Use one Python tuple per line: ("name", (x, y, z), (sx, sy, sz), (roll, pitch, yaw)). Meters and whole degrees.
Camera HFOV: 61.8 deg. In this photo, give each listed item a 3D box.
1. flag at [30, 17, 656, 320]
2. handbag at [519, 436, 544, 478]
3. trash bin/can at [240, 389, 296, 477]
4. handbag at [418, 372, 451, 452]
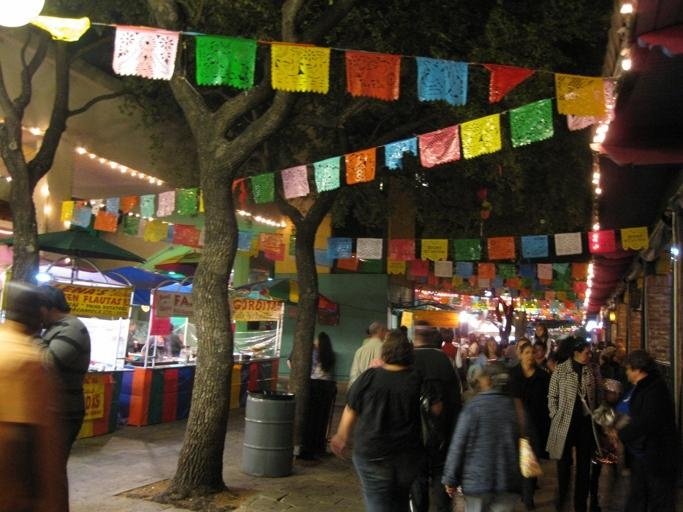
("flag", (-0.327, -1.798, 12.134), (9.591, 1.659, 7.698), (3, -11, 11))
("handbag", (1.741, 1.841, 5.182), (0.184, 0.404, 0.348), (2, -7, 24))
("trash bin/can", (-1.088, 2.710, 8.637), (0.756, 1.228, 0.344), (6, -7, -6))
("handbag", (0.872, 1.508, 5.409), (0.192, 0.731, 0.375), (2, -8, 26))
